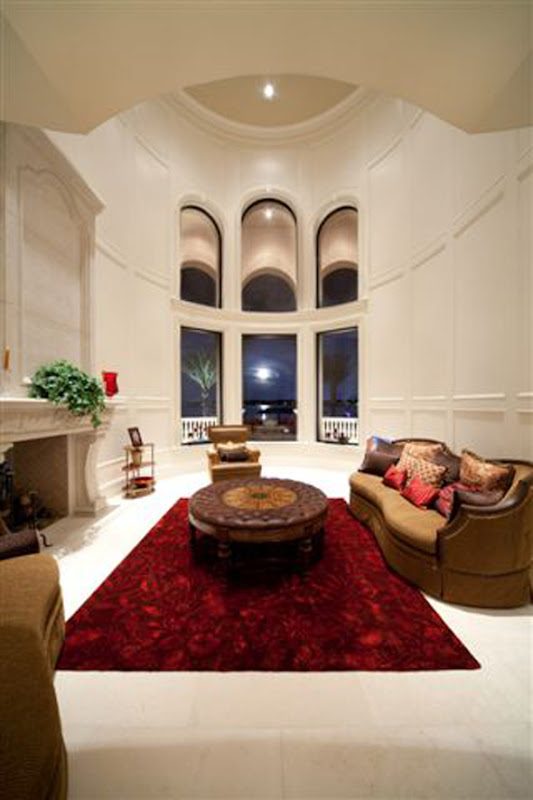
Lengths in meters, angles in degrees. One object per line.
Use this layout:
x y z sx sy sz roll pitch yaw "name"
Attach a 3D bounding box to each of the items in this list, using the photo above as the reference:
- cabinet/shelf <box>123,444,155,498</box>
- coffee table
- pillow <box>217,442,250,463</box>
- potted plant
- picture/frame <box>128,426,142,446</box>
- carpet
-1.291 0.716 5.374 0.368 0.521 0.237 -8 12 -42 "cabinet/shelf"
-0.020 0.819 3.791 0.984 0.298 0.953 18 0 1 "coffee table"
-0.377 0.596 5.970 0.374 0.152 0.448 -1 7 -6 "pillow"
-1.575 -0.020 4.212 0.332 0.586 0.729 1 7 18 "potted plant"
-1.418 0.385 5.644 0.028 0.209 0.175 -18 6 14 "picture/frame"
-0.037 1.193 2.973 2.060 0.112 0.965 0 7 0 "carpet"
